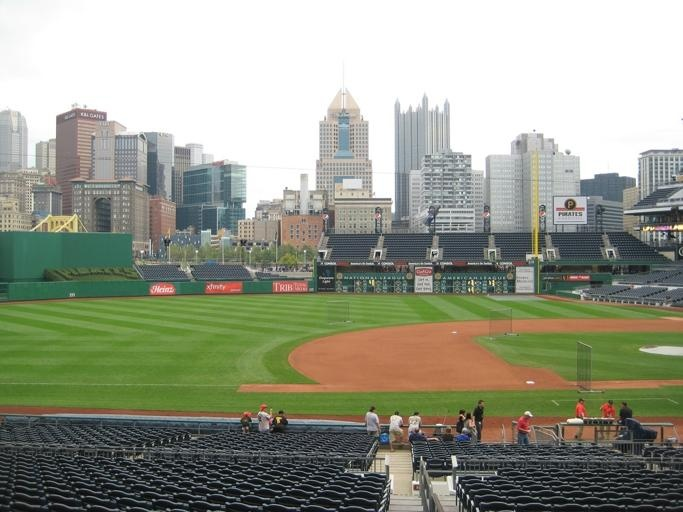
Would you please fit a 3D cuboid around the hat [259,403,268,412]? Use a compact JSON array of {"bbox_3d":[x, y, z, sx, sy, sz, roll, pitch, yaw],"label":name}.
[{"bbox_3d":[-12.058,22.847,226.259,0.882,1.019,1.046,7,36,18],"label":"hat"}]
